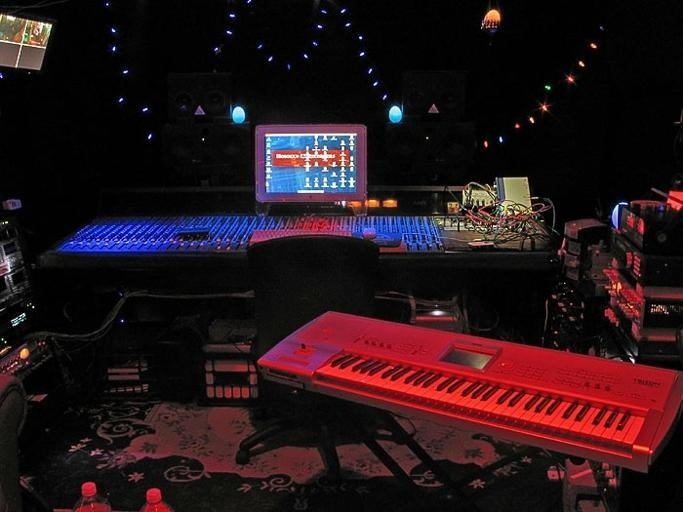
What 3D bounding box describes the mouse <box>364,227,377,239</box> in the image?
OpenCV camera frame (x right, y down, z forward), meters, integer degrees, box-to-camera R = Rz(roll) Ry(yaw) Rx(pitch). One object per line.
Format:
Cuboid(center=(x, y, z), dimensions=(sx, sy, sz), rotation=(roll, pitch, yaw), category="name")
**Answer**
Cuboid(center=(0.163, -0.124, 2.988), dimensions=(0.069, 0.056, 0.058), rotation=(-1, 4, -3), category="mouse")
